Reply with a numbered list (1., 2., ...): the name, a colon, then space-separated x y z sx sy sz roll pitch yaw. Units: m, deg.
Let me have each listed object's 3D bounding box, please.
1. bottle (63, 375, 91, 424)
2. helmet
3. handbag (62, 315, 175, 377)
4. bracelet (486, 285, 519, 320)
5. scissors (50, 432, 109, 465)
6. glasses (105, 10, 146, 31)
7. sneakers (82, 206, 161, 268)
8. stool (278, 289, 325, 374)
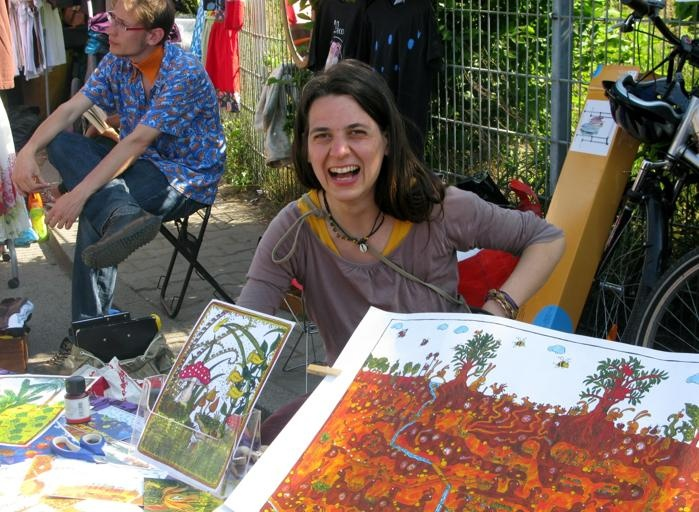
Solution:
1. bottle: -0.843 0.439 2.008 0.090 0.149 0.077 5 15 -7
2. helmet: 1.436 -0.691 3.205 0.340 0.236 0.301 1 32 -17
3. handbag: -1.202 0.484 3.452 0.566 0.255 0.348 -7 23 -40
4. bracelet: 0.554 0.165 2.408 0.051 0.095 0.108 -39 14 -2
5. scissors: -0.777 0.551 1.888 0.172 0.044 0.091 12 18 5
6. glasses: -1.442 -1.516 4.138 0.294 0.102 0.115 21 21 30
7. sneakers: -1.427 -0.136 4.048 0.324 0.134 0.243 -36 30 -12
8. stool: -0.287 0.461 4.198 0.208 0.453 0.248 5 -5 -42
